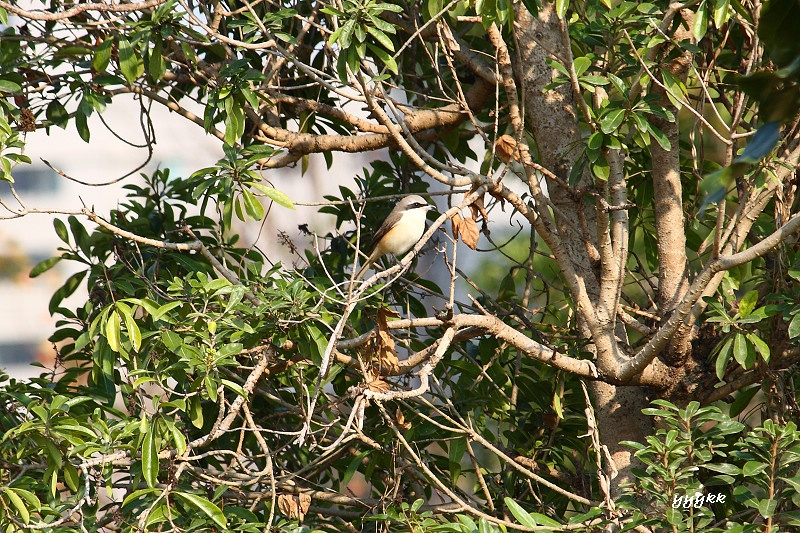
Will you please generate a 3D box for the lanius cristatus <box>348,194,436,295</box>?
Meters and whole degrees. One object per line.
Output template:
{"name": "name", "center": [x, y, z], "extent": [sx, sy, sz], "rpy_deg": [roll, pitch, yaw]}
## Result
{"name": "lanius cristatus", "center": [-0.194, -0.110, 10.448], "extent": [0.995, 0.464, 0.297], "rpy_deg": [-34, -31, 26]}
